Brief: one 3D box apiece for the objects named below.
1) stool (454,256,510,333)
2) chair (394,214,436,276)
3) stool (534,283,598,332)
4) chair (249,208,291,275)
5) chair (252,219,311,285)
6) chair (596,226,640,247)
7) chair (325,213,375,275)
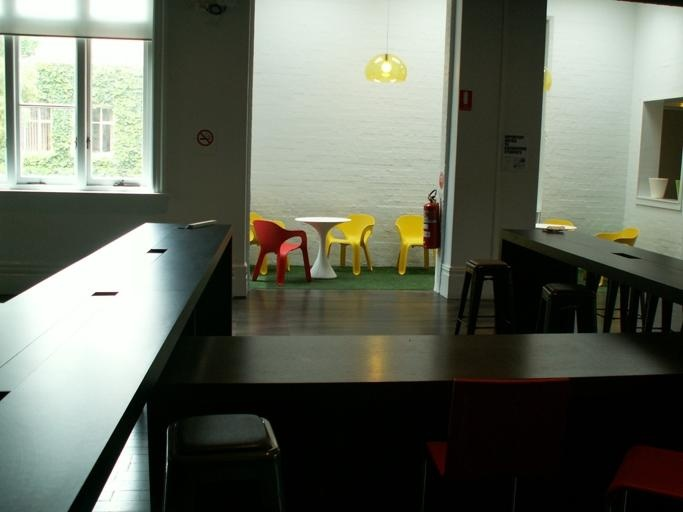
[{"bbox_3d":[1.181,0.392,4.588,0.457,0.656,0.451,0,5,7],"label":"stool"},{"bbox_3d":[1.068,-0.172,8.086,0.638,0.815,0.658,3,4,22],"label":"chair"},{"bbox_3d":[1.560,0.325,3.897,0.339,0.315,0.340,-1,5,1],"label":"stool"},{"bbox_3d":[-1.105,-0.192,7.684,0.796,1.032,0.798,-2,8,-6],"label":"chair"},{"bbox_3d":[-0.780,-0.082,7.231,0.697,0.806,0.635,6,13,28],"label":"chair"},{"bbox_3d":[3.316,-0.241,6.680,0.376,0.340,0.321,2,8,1],"label":"chair"},{"bbox_3d":[0.098,-0.186,7.998,0.700,0.824,0.645,4,3,15],"label":"chair"}]
